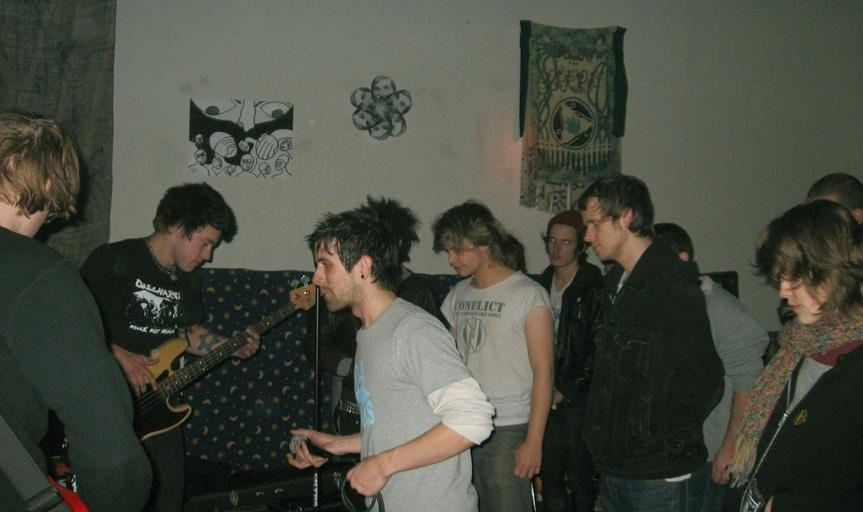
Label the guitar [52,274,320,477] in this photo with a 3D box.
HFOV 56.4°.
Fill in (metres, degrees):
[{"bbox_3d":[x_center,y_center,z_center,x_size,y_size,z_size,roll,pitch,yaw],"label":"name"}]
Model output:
[{"bbox_3d":[-1.664,0.818,5.386,0.167,0.496,1.550,-7,24,47],"label":"guitar"}]
